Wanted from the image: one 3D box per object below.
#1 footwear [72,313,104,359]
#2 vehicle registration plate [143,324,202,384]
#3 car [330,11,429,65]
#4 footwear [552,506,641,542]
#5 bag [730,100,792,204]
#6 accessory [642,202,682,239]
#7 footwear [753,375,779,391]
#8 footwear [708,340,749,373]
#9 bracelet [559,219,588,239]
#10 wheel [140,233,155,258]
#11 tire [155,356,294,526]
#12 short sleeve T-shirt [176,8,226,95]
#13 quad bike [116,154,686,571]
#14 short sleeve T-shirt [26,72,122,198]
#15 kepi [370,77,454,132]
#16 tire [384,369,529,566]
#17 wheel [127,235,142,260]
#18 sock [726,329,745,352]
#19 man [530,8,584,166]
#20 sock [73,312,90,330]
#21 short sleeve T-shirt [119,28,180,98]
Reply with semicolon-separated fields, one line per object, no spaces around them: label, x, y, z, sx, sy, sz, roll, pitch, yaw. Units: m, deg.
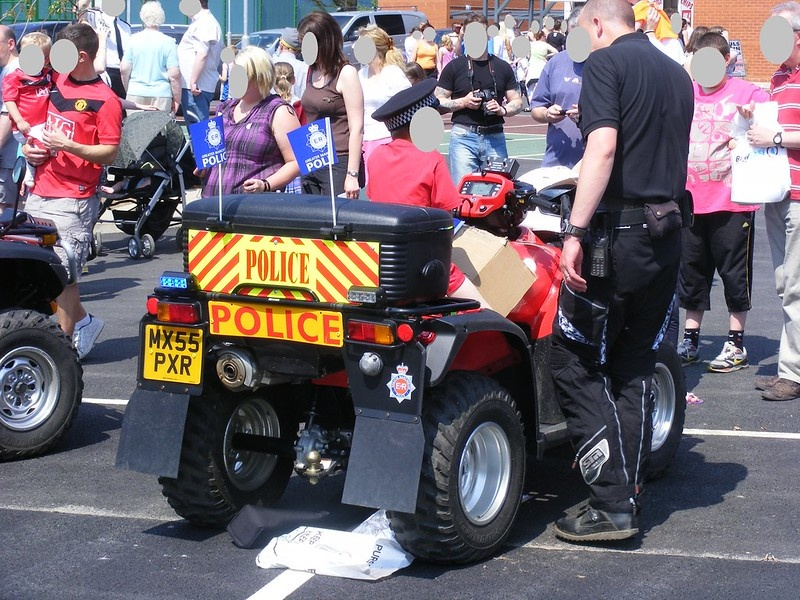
footwear;-2.767;0.319;7.255;0.122;0.385;0.159;6;-20;43
vehicle registration plate;-1.111;0.261;4.054;0.258;0.224;0.029;5;6;28
car;-1.139;-8.914;28.744;4.200;2.179;2.183;-10;18;-23
footwear;0.989;1.124;4.210;0.423;0.224;0.176;1;1;10
bag;2.822;-1.145;6.490;0.474;0.800;0.417;6;13;25
accessory;1.343;-0.417;4.206;0.221;0.172;0.078;-15;-1;-30
footwear;2.980;0.671;6.759;0.246;0.108;0.094;0;5;31
footwear;2.896;0.507;7.291;0.438;0.269;0.170;-7;4;-30
bracelet;0.865;-0.351;4.110;0.118;0.082;0.118;17;-1;-35
wheel;-3.528;-0.752;11.557;0.231;0.516;0.485;-4;3;-18
tire;-0.906;0.774;4.522;0.238;0.773;0.764;-3;-29;28
short sleeve T-shirt;-3.560;-4.298;14.531;0.804;1.461;1.249;-1;12;-13
quad bike;0.022;0.122;4.794;1.619;1.781;2.686;4;11;30
short sleeve T-shirt;-2.698;-1.354;6.706;0.907;0.957;0.563;33;33;27
kepi;0.037;-1.166;4.892;0.338;0.108;0.300;-27;16;11
tire;0.325;0.840;4.122;0.295;0.885;0.873;3;-22;38
wheel;-3.645;-0.720;11.303;0.098;0.320;0.299;-6;10;-27
sock;3.009;0.336;7.414;0.211;0.218;0.112;-2;6;-21
man;1.462;-1.787;7.178;0.624;1.340;0.454;4;46;10
sock;-2.829;0.206;7.306;0.149;0.098;0.108;-43;6;19
short sleeve T-shirt;-4.032;-3.815;13.321;0.968;1.067;0.322;5;13;21
